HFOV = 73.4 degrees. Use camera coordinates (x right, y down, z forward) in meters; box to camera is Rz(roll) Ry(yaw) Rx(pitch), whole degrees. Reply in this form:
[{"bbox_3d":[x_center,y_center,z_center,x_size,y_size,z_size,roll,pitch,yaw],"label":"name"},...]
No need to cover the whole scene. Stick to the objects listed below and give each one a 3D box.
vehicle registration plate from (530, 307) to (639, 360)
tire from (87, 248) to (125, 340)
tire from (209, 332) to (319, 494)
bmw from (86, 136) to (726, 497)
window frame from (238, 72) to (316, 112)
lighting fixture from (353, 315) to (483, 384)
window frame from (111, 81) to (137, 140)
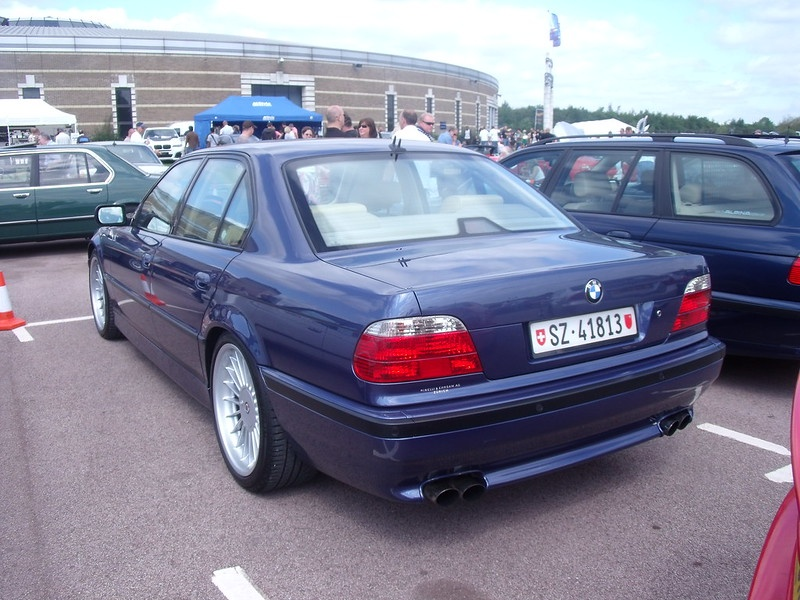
[{"bbox_3d":[0.850,0.138,2.476,0.024,0.147,0.613,3,-13,-30],"label":"vehicle registration plate"},{"bbox_3d":[-2.956,-0.063,5.408,0.276,0.758,0.789,-4,28,-35],"label":"tire"},{"bbox_3d":[-0.775,0.607,3.128,0.413,0.950,1.034,-3,-3,-37],"label":"tire"},{"bbox_3d":[-0.602,-0.098,3.592,1.942,1.110,3.800,-7,15,-36],"label":"bmw"},{"bbox_3d":[-13.119,-23.729,59.708,8.280,3.088,7.219,0,17,-8],"label":"window frame"},{"bbox_3d":[0.095,0.186,2.224,0.630,0.231,0.232,-9,-4,32],"label":"lighting fixture"},{"bbox_3d":[-26.555,-17.801,51.444,2.192,4.913,0.471,6,9,9],"label":"window frame"}]
